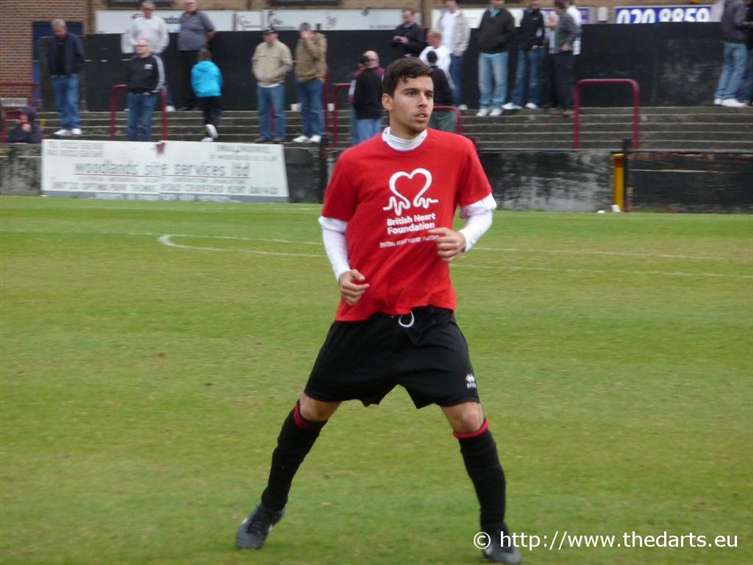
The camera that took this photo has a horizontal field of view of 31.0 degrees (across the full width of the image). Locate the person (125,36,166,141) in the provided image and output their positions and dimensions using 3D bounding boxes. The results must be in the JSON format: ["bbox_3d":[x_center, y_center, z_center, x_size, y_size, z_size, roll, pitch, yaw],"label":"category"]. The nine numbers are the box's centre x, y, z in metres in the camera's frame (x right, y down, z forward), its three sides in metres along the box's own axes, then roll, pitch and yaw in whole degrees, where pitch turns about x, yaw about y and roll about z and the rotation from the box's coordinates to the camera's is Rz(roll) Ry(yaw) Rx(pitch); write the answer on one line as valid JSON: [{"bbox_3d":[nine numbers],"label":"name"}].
[{"bbox_3d":[-4.412,-3.628,25.675,0.661,1.873,0.712,-3,9,-16],"label":"person"}]

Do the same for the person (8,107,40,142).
[{"bbox_3d":[-7.067,-3.105,26.946,0.605,0.640,1.617,-2,8,-15],"label":"person"}]

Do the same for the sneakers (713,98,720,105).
[{"bbox_3d":[6.610,-3.491,26.176,0.181,0.086,0.150,1,6,13],"label":"sneakers"}]

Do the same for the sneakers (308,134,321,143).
[{"bbox_3d":[-1.161,-2.680,25.317,0.199,0.148,0.441,0,0,5],"label":"sneakers"}]

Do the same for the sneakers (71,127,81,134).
[{"bbox_3d":[-6.284,-3.148,28.257,0.188,0.096,0.185,5,8,41],"label":"sneakers"}]

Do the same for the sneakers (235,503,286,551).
[{"bbox_3d":[-0.883,1.782,9.889,0.225,0.166,0.514,-33,3,39],"label":"sneakers"}]
